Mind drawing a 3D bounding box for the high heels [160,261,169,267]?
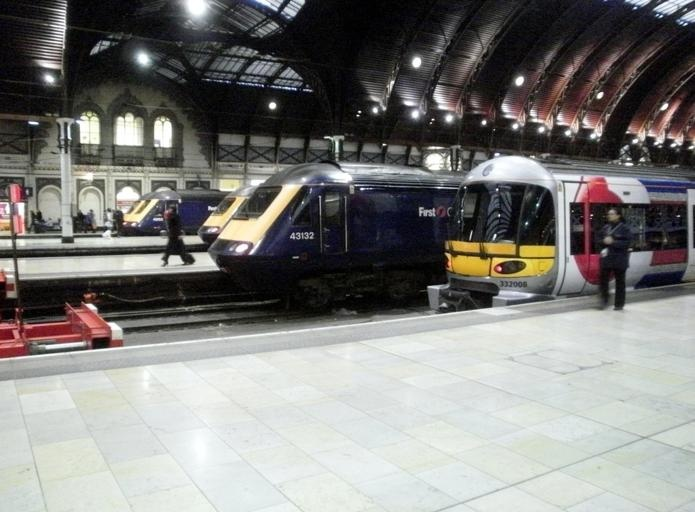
[{"bbox_3d":[-6.260,0.327,16.586,0.161,0.131,0.401,-2,-6,6],"label":"high heels"}]
